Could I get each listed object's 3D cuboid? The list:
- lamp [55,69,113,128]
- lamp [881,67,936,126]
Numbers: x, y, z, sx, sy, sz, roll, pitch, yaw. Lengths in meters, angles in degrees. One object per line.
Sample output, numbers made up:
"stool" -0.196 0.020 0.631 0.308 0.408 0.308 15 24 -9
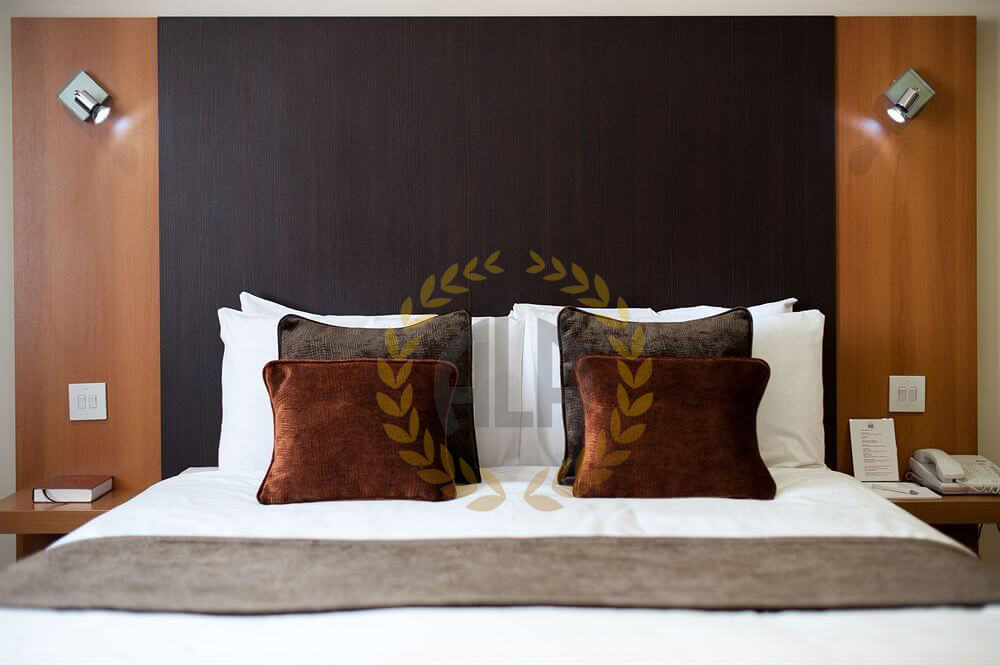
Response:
"lamp" -1.867 -1.056 3.813 0.216 0.232 0.083 -47 14 -10
"lamp" 1.864 -1.096 3.863 0.213 0.115 0.120 -49 -10 -33
